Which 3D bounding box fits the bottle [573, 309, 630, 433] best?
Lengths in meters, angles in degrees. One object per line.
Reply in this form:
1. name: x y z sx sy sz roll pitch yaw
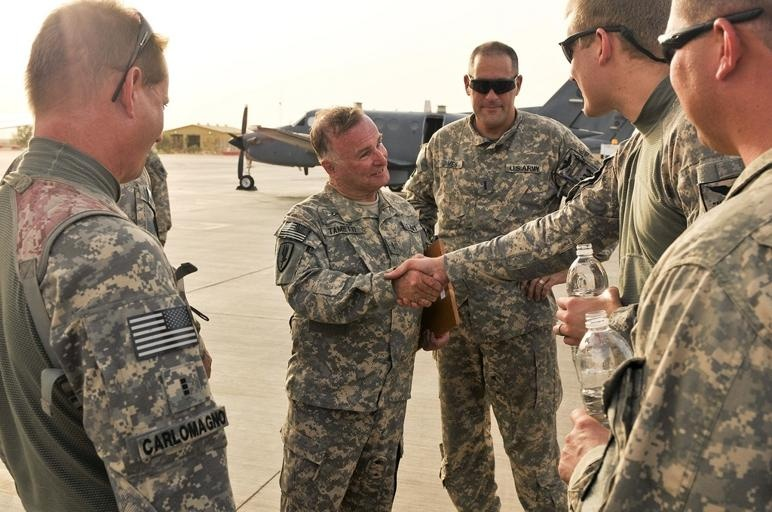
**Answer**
1. bottle: 0.714 0.369 2.534 0.176 0.342 0.301 4 13 12
